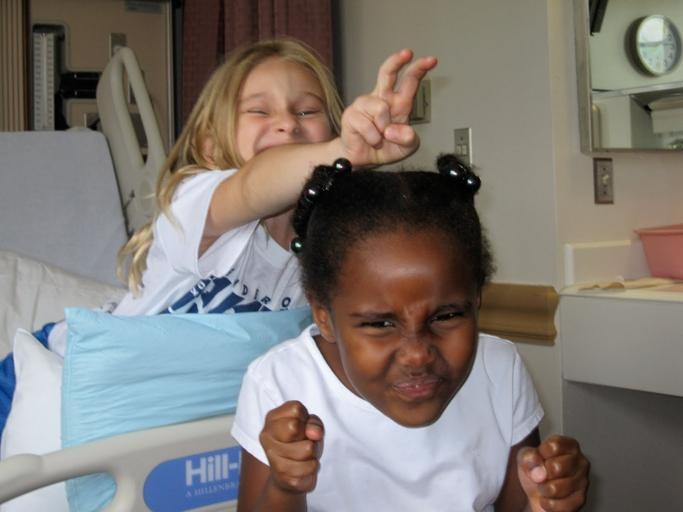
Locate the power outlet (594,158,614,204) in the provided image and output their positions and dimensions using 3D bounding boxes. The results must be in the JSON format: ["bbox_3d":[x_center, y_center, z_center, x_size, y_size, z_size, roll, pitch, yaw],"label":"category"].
[{"bbox_3d":[0.845,-0.241,2.043,0.093,0.151,0.023,-5,9,-35],"label":"power outlet"}]
